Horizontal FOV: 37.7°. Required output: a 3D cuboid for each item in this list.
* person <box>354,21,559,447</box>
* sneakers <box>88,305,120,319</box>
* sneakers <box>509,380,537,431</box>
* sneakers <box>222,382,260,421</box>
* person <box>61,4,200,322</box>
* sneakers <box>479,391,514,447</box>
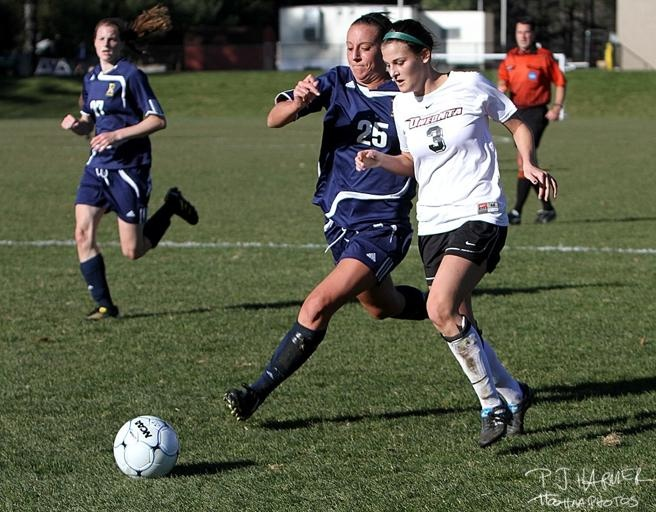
[{"bbox_3d":[0.781,-0.063,5.704,0.940,2.137,0.770,11,18,36],"label":"person"},{"bbox_3d":[-1.758,0.437,7.624,0.277,0.129,0.103,0,8,-7],"label":"sneakers"},{"bbox_3d":[1.137,0.906,5.743,0.144,0.332,0.106,21,-11,-31],"label":"sneakers"},{"bbox_3d":[-0.492,0.855,5.717,0.254,0.154,0.119,0,-9,8],"label":"sneakers"},{"bbox_3d":[-1.634,-0.756,7.636,0.823,2.389,1.055,1,14,4],"label":"person"},{"bbox_3d":[0.980,0.947,5.578,0.175,0.289,0.230,4,15,15],"label":"sneakers"}]
